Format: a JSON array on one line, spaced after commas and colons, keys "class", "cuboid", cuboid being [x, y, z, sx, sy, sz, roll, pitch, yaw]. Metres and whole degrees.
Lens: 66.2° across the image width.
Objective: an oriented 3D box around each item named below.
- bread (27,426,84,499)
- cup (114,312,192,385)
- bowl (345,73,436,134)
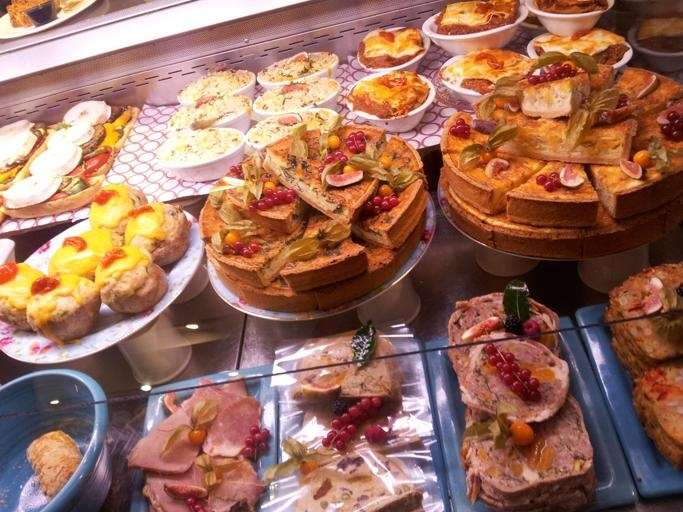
[{"class": "bread", "cuboid": [-1.046, 0.781, 1.972, 0.169, 0.070, 0.230, -42, 59, 7]}, {"class": "cup", "cuboid": [-0.767, 0.399, 2.245, 0.245, 0.242, 0.243, 2, 96, 19]}, {"class": "bowl", "cuboid": [0.288, -0.950, 3.092, 0.444, 0.208, 0.416, -8, 41, 7]}]
